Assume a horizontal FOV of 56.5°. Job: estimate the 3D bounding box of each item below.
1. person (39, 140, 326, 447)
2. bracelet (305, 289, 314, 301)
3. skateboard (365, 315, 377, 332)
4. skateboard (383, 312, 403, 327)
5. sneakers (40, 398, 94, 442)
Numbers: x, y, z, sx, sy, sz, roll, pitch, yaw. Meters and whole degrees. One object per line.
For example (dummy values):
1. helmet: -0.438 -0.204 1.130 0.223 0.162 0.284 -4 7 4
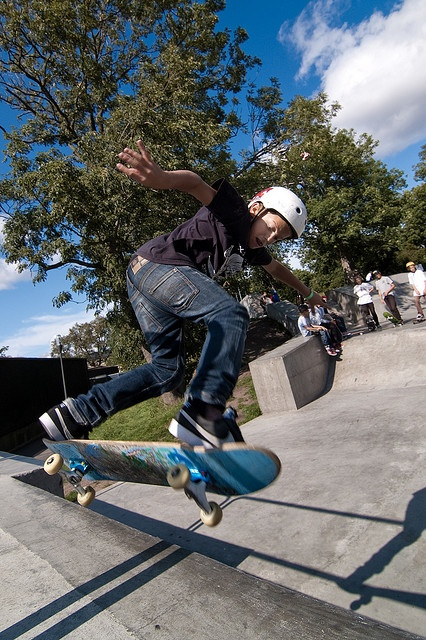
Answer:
1. person: -0.183 -0.019 1.922 0.680 1.141 0.903 8 -14 -25
2. bracelet: 0.692 -0.185 2.825 0.033 0.065 0.048 21 -4 -42
3. skateboard: 3.869 0.163 9.690 0.168 0.529 0.218 -3 35 25
4. skateboard: 4.463 -0.033 9.827 0.146 0.242 1.035 38 10 37
5. sneakers: -0.820 0.544 2.171 0.370 0.166 0.125 15 -12 2
